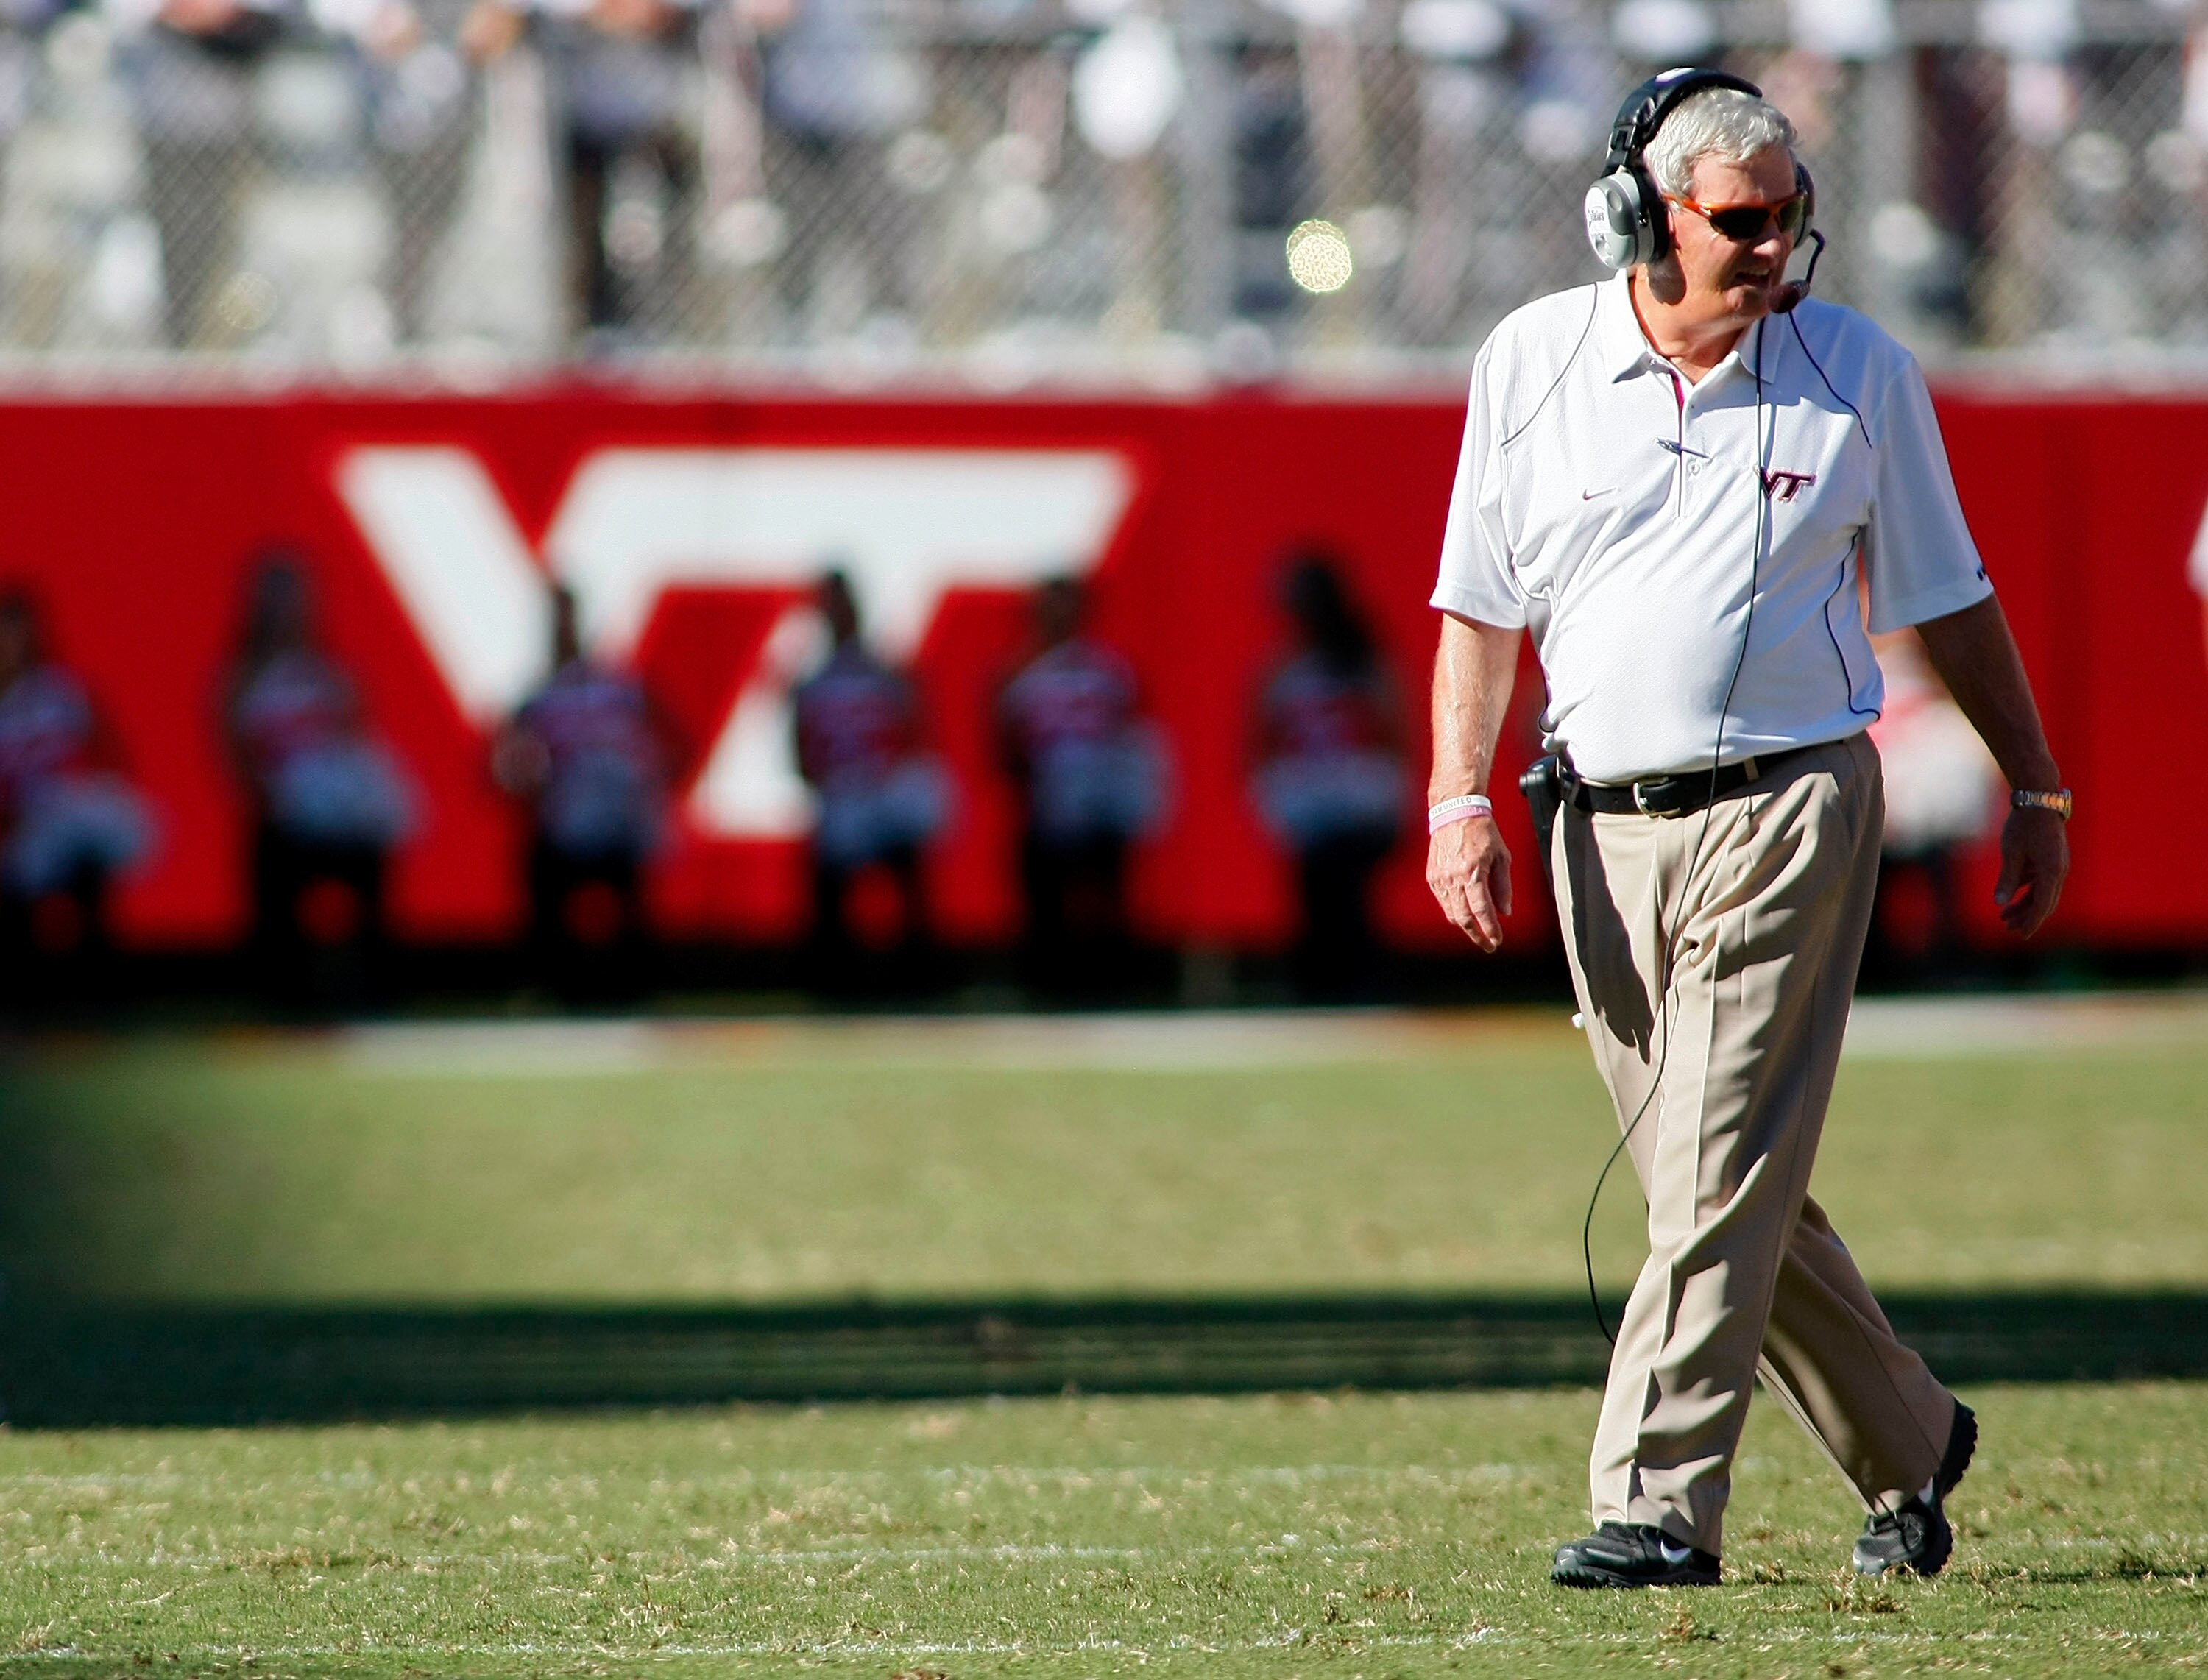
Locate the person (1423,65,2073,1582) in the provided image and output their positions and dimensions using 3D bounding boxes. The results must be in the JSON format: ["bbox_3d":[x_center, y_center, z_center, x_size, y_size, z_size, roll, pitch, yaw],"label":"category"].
[{"bbox_3d":[1.461,0.029,11.133,1.523,3.378,1.050,-2,1,-32],"label":"person"}]

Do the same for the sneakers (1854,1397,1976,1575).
[{"bbox_3d":[1.806,1.479,10.996,0.159,0.484,0.212,17,2,28],"label":"sneakers"}]

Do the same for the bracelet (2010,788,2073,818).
[{"bbox_3d":[2.042,-0.077,10.931,0.098,0.069,0.105,2,1,-6],"label":"bracelet"}]
